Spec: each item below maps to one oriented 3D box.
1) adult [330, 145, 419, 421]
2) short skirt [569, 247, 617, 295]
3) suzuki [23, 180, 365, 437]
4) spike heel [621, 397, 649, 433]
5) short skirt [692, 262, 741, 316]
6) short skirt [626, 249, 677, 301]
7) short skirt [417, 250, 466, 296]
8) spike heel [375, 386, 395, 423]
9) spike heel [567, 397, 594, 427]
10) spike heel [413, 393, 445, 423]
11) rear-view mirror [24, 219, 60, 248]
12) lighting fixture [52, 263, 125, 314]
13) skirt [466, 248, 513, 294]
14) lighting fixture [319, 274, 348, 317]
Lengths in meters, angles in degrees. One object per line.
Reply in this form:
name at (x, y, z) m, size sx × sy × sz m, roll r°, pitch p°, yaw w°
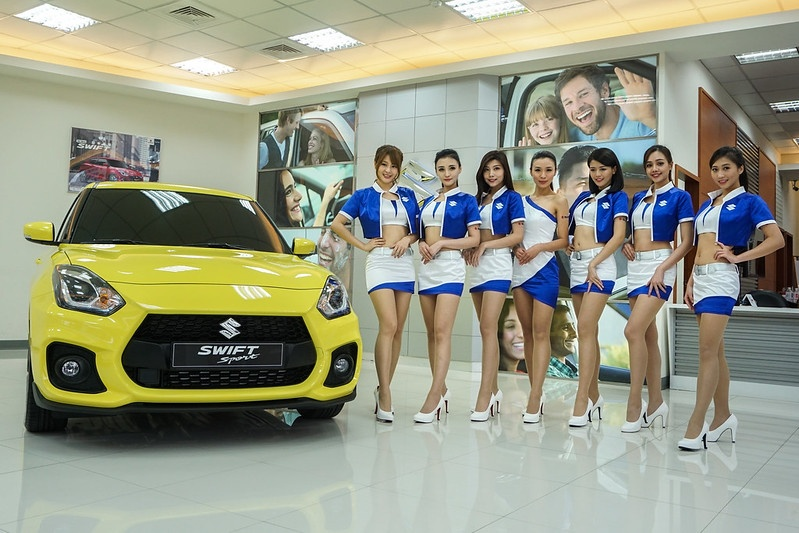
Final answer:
adult at (-0.061, 0.092, 3.967) m, size 0.753 × 2.099 × 0.559 m, roll 2°, pitch -8°, yaw -30°
short skirt at (1.578, 0.003, 4.068) m, size 0.297 × 0.360 × 0.402 m, roll -10°, pitch 6°, yaw -32°
suzuki at (-1.626, 0.216, 3.755) m, size 1.435 × 1.080 × 2.324 m, roll 3°, pitch -8°, yaw -22°
spike heel at (1.853, 1.172, 3.921) m, size 0.444 × 0.216 × 0.143 m, roll -1°, pitch -4°, yaw -44°
short skirt at (2.139, 0.145, 3.389) m, size 0.223 × 0.347 × 0.261 m, roll 17°, pitch -30°, yaw -12°
short skirt at (1.873, 0.051, 3.716) m, size 0.207 × 0.307 × 0.317 m, roll 19°, pitch -23°, yaw -28°
short skirt at (0.351, 0.068, 4.017) m, size 0.406 × 0.367 × 0.244 m, roll -7°, pitch -13°, yaw 29°
spike heel at (-0.134, 1.125, 3.931) m, size 0.104 × 0.151 × 0.321 m, roll 5°, pitch -2°, yaw -24°
spike heel at (1.434, 1.185, 4.022) m, size 0.126 × 0.174 × 0.384 m, roll -5°, pitch -6°, yaw 38°
spike heel at (0.256, 1.175, 4.023) m, size 0.126 × 0.156 × 0.378 m, roll -6°, pitch -13°, yaw 30°
rear-view mirror at (-2.416, -0.226, 3.477) m, size 0.206 × 0.114 × 0.254 m, roll 6°, pitch -11°, yaw 21°
lighting fixture at (-1.717, 0.135, 2.712) m, size 0.258 × 0.133 × 0.356 m, roll -11°, pitch 32°, yaw -40°
skirt at (0.786, 0.011, 4.080) m, size 0.222 × 0.337 × 0.362 m, roll 1°, pitch -4°, yaw -28°
lighting fixture at (-0.406, 0.180, 3.106) m, size 0.181 × 0.231 × 0.084 m, roll -4°, pitch -14°, yaw -44°
